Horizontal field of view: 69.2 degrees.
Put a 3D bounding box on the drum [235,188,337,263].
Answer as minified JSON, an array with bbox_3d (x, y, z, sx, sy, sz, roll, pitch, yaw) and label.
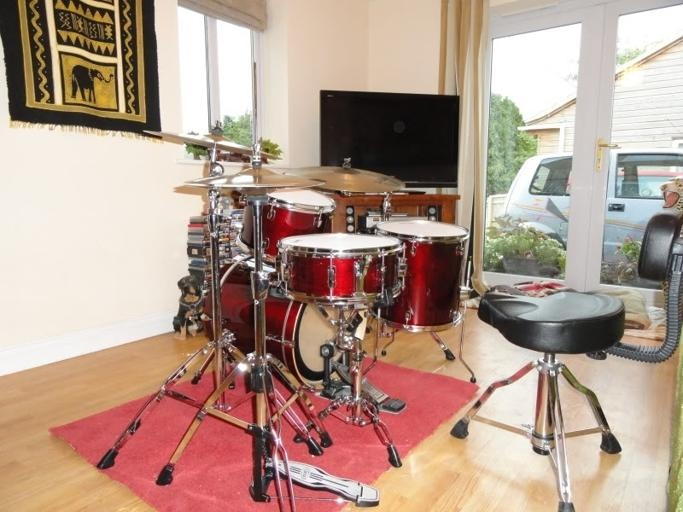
[{"bbox_3d":[-0.266,-0.225,2.348,0.380,0.274,0.385,8,29,-4],"label":"drum"}]

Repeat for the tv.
[{"bbox_3d":[0.348,-0.908,3.793,1.131,0.748,0.080,2,11,-7],"label":"tv"}]

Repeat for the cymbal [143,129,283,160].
[{"bbox_3d":[-0.852,-0.710,3.139,0.655,0.076,0.682,15,10,10],"label":"cymbal"}]

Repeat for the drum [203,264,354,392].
[{"bbox_3d":[-0.410,0.304,2.541,0.567,0.571,0.661,6,17,-43],"label":"drum"}]

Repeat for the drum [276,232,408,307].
[{"bbox_3d":[-0.003,0.058,2.044,0.355,0.151,0.353,1,7,0],"label":"drum"}]

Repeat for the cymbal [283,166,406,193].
[{"bbox_3d":[-0.004,-0.436,2.714,0.366,0.084,0.370,15,21,24],"label":"cymbal"}]

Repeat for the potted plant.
[{"bbox_3d":[1.572,-0.054,4.326,0.530,0.400,0.195,20,20,24],"label":"potted plant"}]

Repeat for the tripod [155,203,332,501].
[{"bbox_3d":[-0.395,0.338,2.031,0.668,1.171,0.804,-1,13,4],"label":"tripod"}]

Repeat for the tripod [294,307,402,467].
[{"bbox_3d":[0.013,0.629,2.335,0.488,0.617,0.523,8,16,26],"label":"tripod"}]

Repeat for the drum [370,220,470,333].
[{"bbox_3d":[0.389,0.072,2.738,0.534,0.512,0.526,2,13,5],"label":"drum"}]
